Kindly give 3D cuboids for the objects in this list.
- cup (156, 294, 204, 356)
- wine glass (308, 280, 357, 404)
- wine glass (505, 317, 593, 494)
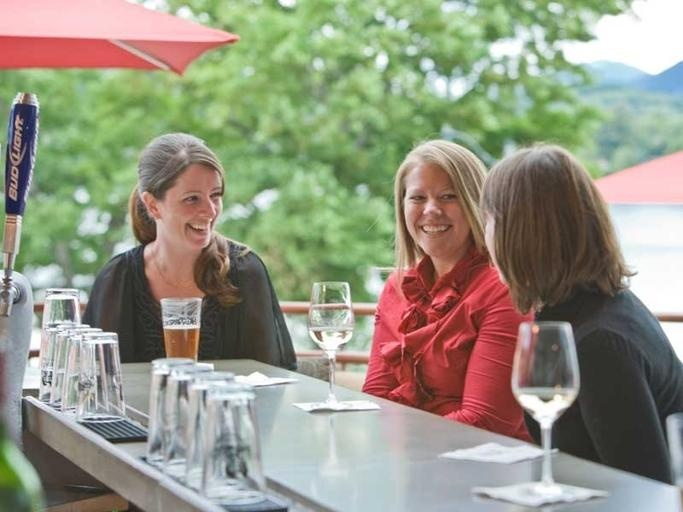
[{"bbox_3d":[-0.439,0.181,2.208,0.134,0.195,0.133,-1,-10,0],"label":"cup"},{"bbox_3d":[-0.034,0.173,2.217,0.113,0.213,0.144,-2,-4,-31],"label":"wine glass"},{"bbox_3d":[0.391,0.280,1.633,0.112,0.313,0.142,-7,-4,37],"label":"wine glass"}]
